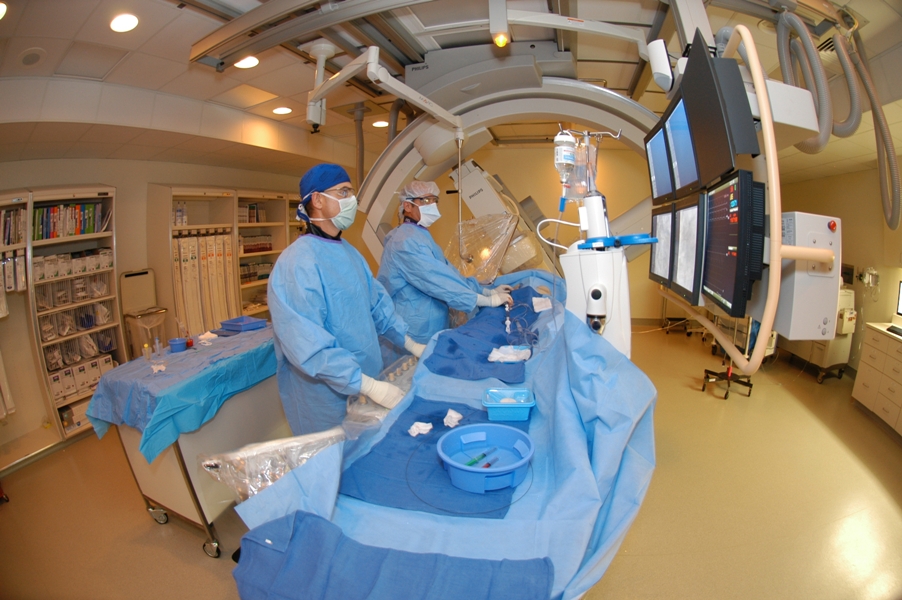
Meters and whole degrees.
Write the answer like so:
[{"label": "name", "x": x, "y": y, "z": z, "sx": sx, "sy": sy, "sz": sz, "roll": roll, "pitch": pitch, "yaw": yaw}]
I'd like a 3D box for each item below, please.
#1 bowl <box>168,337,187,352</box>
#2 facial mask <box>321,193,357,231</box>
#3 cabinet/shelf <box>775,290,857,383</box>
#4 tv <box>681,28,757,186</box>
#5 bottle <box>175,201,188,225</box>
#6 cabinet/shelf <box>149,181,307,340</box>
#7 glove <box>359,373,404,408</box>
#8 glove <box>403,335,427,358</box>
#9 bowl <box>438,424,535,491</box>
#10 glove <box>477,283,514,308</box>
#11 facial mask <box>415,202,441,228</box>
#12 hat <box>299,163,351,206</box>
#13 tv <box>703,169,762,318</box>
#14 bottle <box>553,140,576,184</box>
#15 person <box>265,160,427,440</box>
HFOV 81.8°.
[{"label": "bowl", "x": -1.773, "y": 0.290, "z": 3.369, "sx": 0.088, "sy": 0.057, "sz": 0.091, "roll": -6, "pitch": 0, "yaw": 0}, {"label": "facial mask", "x": -0.608, "y": -0.494, "z": 2.906, "sx": 0.184, "sy": 0.159, "sz": 0.158, "roll": 0, "pitch": 7, "yaw": 2}, {"label": "cabinet/shelf", "x": 3.620, "y": 0.279, "z": 5.152, "sx": 0.274, "sy": 0.785, "sz": 0.808, "roll": 2, "pitch": 4, "yaw": 2}, {"label": "tv", "x": 1.150, "y": -0.854, "z": 2.311, "sx": 0.153, "sy": 0.664, "sz": 0.414, "roll": -3, "pitch": 7, "yaw": -17}, {"label": "bottle", "x": -2.574, "y": -0.816, "z": 4.941, "sx": 0.113, "sy": 0.194, "sz": 0.068, "roll": -8, "pitch": 9, "yaw": -43}, {"label": "cabinet/shelf", "x": -2.120, "y": -0.368, "z": 4.724, "sx": 0.451, "sy": 1.564, "sz": 1.582, "roll": 1, "pitch": 5, "yaw": 23}, {"label": "glove", "x": -0.364, "y": 0.478, "z": 2.725, "sx": 0.226, "sy": 0.140, "sz": 0.065, "roll": 27, "pitch": -8, "yaw": 3}, {"label": "glove", "x": -0.217, "y": 0.292, "z": 3.201, "sx": 0.164, "sy": 0.066, "sz": 0.092, "roll": 29, "pitch": 15, "yaw": -41}, {"label": "bowl", "x": 0.141, "y": 0.660, "z": 2.191, "sx": 0.401, "sy": 0.213, "sz": 0.237, "roll": -1, "pitch": 7, "yaw": -1}, {"label": "glove", "x": 0.290, "y": -0.010, "z": 3.571, "sx": 0.159, "sy": 0.055, "sz": 0.163, "roll": -11, "pitch": 23, "yaw": -9}, {"label": "facial mask", "x": -0.167, "y": -0.622, "z": 3.810, "sx": 0.162, "sy": 0.115, "sz": 0.149, "roll": -16, "pitch": 21, "yaw": 17}, {"label": "hat", "x": -0.703, "y": -0.660, "z": 2.916, "sx": 0.240, "sy": 0.152, "sz": 0.193, "roll": -30, "pitch": 6, "yaw": 0}, {"label": "tv", "x": 1.306, "y": -0.274, "z": 2.427, "sx": 0.182, "sy": 0.576, "sz": 0.592, "roll": 0, "pitch": 9, "yaw": 9}, {"label": "bottle", "x": 0.571, "y": -0.691, "z": 2.593, "sx": 0.124, "sy": 0.200, "sz": 0.124, "roll": 1, "pitch": 15, "yaw": 0}, {"label": "person", "x": -0.613, "y": 0.006, "z": 2.844, "sx": 0.738, "sy": 1.576, "sz": 0.758, "roll": -3, "pitch": 7, "yaw": -13}]
